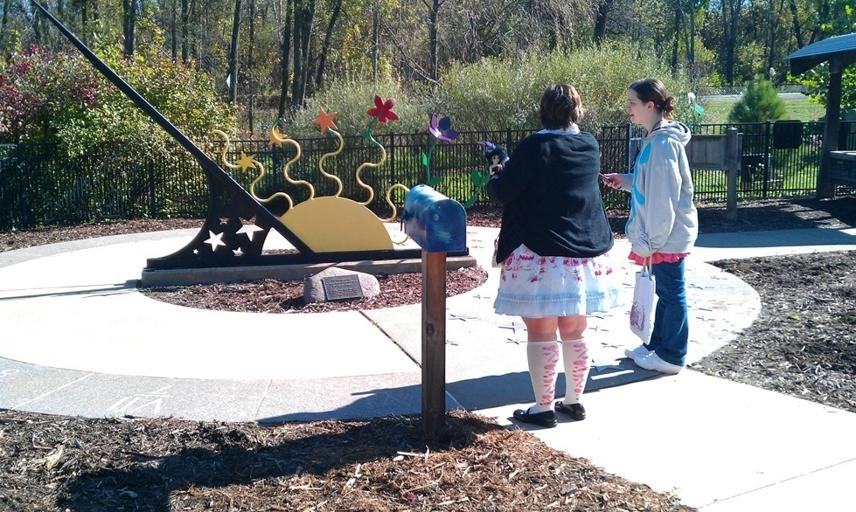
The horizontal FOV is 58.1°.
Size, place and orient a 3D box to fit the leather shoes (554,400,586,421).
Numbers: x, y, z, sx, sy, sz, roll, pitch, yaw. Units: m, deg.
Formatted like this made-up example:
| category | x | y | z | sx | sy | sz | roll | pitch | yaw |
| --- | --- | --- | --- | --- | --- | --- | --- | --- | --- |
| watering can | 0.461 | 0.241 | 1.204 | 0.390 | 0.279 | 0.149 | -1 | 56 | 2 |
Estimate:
| category | x | y | z | sx | sy | sz | roll | pitch | yaw |
| --- | --- | --- | --- | --- | --- | --- | --- | --- | --- |
| leather shoes | 1.715 | 1.866 | 9.349 | 0.156 | 0.162 | 0.387 | -1 | 14 | -39 |

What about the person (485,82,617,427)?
| category | x | y | z | sx | sy | sz | roll | pitch | yaw |
| --- | --- | --- | --- | --- | --- | --- | --- | --- | --- |
| person | 1.451 | 0.017 | 9.126 | 1.451 | 3.939 | 0.817 | 0 | 13 | 4 |

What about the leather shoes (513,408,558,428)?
| category | x | y | z | sx | sy | sz | roll | pitch | yaw |
| --- | --- | --- | --- | --- | --- | --- | --- | --- | --- |
| leather shoes | 1.296 | 1.905 | 9.309 | 0.475 | 0.212 | 0.214 | 7 | 5 | 18 |
